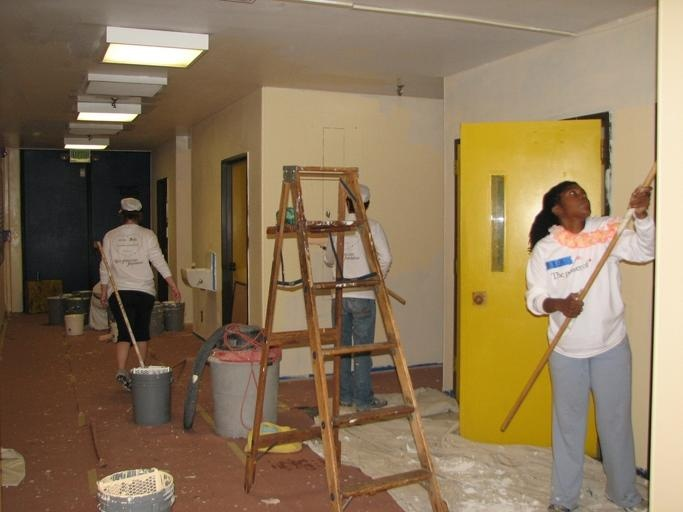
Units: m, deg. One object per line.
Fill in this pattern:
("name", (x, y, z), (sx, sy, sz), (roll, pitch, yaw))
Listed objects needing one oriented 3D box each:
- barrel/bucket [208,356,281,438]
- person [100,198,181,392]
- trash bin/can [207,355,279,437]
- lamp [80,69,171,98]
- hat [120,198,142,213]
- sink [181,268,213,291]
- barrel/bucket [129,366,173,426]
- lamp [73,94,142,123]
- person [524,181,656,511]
("barrel/bucket", (-0.805, 1.204, 5.670), (0.609, 0.703, 0.646), (2, -7, 0))
("person", (-2.104, 0.374, 6.752), (0.720, 1.963, 0.699), (-3, 3, -21))
("trash bin/can", (-0.822, 1.193, 5.673), (0.617, 0.696, 0.640), (0, -7, 16))
("lamp", (-2.140, -1.733, 6.465), (0.909, 0.173, 0.492), (-2, 3, 12))
("hat", (-2.231, -0.533, 6.953), (0.242, 0.129, 0.345), (4, 1, -10))
("sink", (-1.958, 0.319, 8.922), (0.331, 0.221, 0.339), (1, 1, -15))
("barrel/bucket", (-1.645, 1.227, 5.800), (0.427, 0.497, 0.445), (0, 3, 0))
("lamp", (-2.683, -1.737, 7.546), (1.167, 0.191, 0.626), (0, 4, 42))
("person", (1.713, 0.600, 4.480), (0.796, 2.245, 0.901), (-1, 3, 26))
